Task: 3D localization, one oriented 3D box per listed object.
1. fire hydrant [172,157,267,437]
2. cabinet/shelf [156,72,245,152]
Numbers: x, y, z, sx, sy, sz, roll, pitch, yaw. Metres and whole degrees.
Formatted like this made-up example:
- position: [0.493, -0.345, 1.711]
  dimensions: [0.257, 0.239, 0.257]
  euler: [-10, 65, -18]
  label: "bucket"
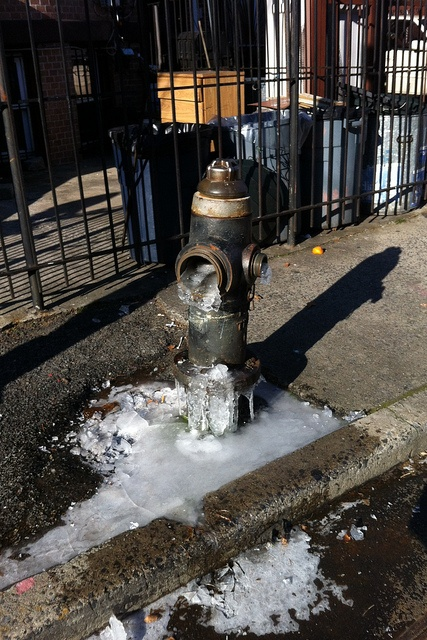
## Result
- position: [0.011, -0.076, 2.276]
  dimensions: [0.461, 1.253, 0.381]
  euler: [-5, 21, -1]
  label: "fire hydrant"
- position: [-0.105, -2.581, 5.836]
  dimensions: [0.482, 0.546, 0.509]
  euler: [-6, 30, 16]
  label: "cabinet/shelf"
